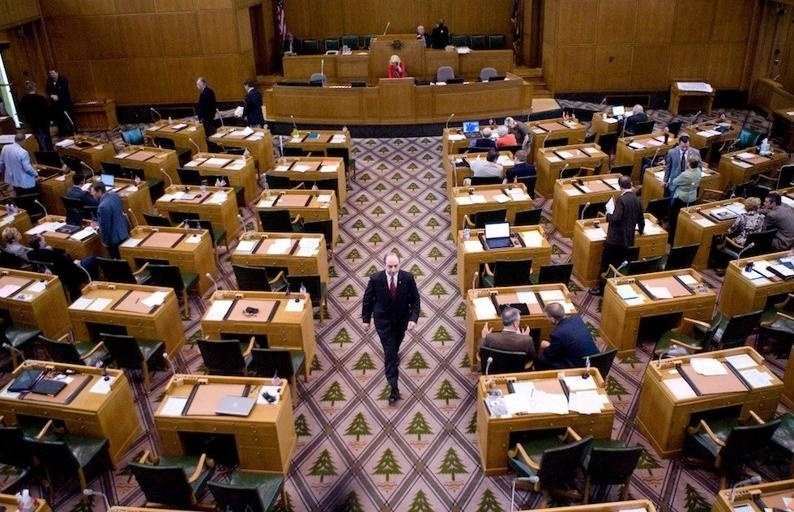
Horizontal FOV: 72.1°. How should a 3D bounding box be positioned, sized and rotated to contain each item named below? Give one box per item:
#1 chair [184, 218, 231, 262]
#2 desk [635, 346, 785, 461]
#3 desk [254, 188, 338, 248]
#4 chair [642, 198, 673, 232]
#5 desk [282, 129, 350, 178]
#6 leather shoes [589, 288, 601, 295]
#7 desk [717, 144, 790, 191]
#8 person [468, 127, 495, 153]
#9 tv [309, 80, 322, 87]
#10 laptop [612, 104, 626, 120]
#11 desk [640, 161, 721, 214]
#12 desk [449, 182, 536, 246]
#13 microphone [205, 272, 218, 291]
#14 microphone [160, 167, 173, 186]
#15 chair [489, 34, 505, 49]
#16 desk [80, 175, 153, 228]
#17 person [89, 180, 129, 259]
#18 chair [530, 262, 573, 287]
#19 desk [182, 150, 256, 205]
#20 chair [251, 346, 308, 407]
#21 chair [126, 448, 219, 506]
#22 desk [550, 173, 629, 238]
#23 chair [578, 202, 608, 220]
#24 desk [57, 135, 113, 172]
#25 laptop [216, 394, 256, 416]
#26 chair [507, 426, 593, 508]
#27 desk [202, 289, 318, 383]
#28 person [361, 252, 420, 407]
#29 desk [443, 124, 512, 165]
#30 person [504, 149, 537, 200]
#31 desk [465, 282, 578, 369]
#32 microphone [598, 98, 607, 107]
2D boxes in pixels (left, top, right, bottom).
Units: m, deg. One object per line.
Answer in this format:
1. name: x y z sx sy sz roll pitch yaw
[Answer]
1. chair: -4.040 -0.353 11.471 0.626 1.091 0.640 10 71 -15
2. desk: 4.755 2.208 8.397 1.768 1.092 0.860 -6 28 -5
3. desk: -2.139 -0.504 12.639 1.983 1.371 1.250 3 43 5
4. chair: 5.545 -0.875 11.562 0.562 0.764 0.446 -14 46 6
5. desk: -2.061 -3.134 14.734 1.858 1.269 1.285 1 46 5
6. leather shoes: 3.973 0.715 10.929 0.242 0.105 0.100 -5 73 10
7. desk: 8.676 -2.127 13.249 1.201 1.119 0.678 -24 43 -17
8. person: 2.234 -3.013 14.174 0.514 0.381 0.908 0 35 6
9. tv: -2.695 -5.659 17.912 0.420 0.157 0.334 -1 30 2
10. laptop: 6.291 -4.072 15.440 0.447 0.438 0.446 3 33 14
11. desk: 6.302 -1.483 12.085 1.236 0.961 0.708 -9 44 2
12. desk: 2.098 -0.966 12.157 1.698 1.164 0.938 -7 26 -4
13. microphone: -3.817 0.516 11.154 0.115 0.378 0.148 40 63 12
14. microphone: -5.965 -2.045 14.011 0.111 0.708 0.282 34 55 11
15. chair: 3.899 -8.353 21.334 0.625 0.572 0.615 2 40 5
16. desk: -6.194 -1.165 11.931 1.097 1.087 0.591 7 36 8
17. person: -5.742 -0.743 10.927 0.445 1.552 0.541 0 27 7
18. chair: 2.898 0.255 10.040 0.444 0.786 0.456 -1 57 2
19. desk: -4.354 -2.016 13.925 1.352 1.005 0.809 8 29 12
20. chair: -1.898 1.883 8.601 0.678 1.142 0.729 5 65 -1
21. chair: -3.099 3.099 7.602 0.541 0.754 0.620 6 44 0
22. desk: 4.136 -1.055 11.628 1.289 1.014 0.715 -10 42 -2
23. chair: 4.244 -0.988 11.705 0.319 0.585 0.377 3 63 8
24. desk: -8.628 -2.706 15.134 1.486 0.895 0.817 12 32 23
25. laptop: -2.346 2.176 7.924 0.521 0.143 0.265 1 27 7
26. chair: 2.111 2.963 7.573 1.072 1.184 0.931 3 27 11
27. desk: -2.282 1.740 10.220 2.552 1.765 1.315 3 36 6
28. person: -0.086 1.057 8.813 0.907 2.162 0.660 -4 26 -2
29. desk: 1.965 -3.036 14.316 1.751 1.204 0.981 -4 40 1
30. person: 2.902 -1.975 12.834 0.716 1.127 0.566 -3 49 0
31. desk: 2.390 1.462 10.297 1.026 1.517 2.323 11 -7 -6
32. microphone: 7.139 -5.315 18.813 0.232 0.259 1.286 6 28 18
